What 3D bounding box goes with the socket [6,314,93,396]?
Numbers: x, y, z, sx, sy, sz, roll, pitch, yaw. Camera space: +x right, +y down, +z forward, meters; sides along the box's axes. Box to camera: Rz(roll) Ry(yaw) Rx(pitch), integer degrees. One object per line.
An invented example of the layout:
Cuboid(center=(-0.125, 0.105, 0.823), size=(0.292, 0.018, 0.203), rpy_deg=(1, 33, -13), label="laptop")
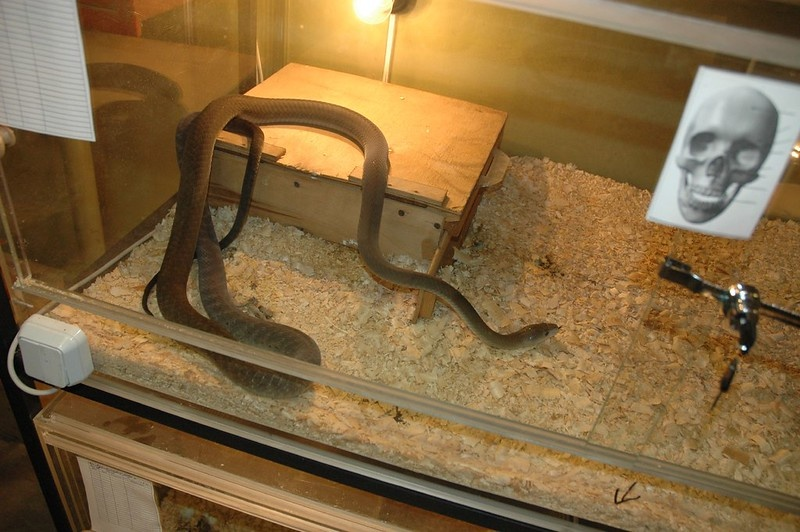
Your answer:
Cuboid(center=(-0.989, 0.244, 1.772), size=(0.175, 0.164, 0.088), rpy_deg=(52, 7, -22), label="socket")
